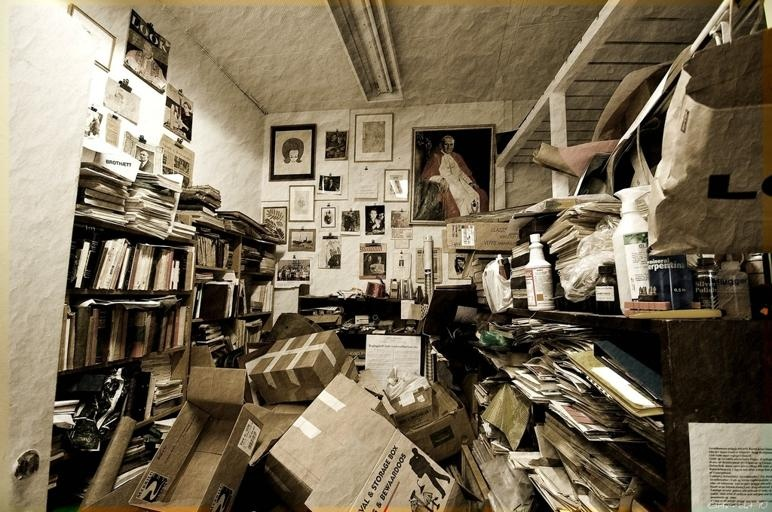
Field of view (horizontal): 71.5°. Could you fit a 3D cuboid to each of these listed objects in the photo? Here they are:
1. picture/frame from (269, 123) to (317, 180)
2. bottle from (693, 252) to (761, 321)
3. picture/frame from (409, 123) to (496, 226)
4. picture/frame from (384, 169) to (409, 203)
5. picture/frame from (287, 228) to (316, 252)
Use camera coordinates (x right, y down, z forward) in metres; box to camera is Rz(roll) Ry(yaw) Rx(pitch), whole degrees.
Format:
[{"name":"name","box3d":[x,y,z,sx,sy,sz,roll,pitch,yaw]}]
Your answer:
[{"name":"picture/frame","box3d":[-0.943,-1.055,5.531,0.637,0.697,0.035,0,-8,2]},{"name":"bottle","box3d":[1.310,0.118,2.084,0.220,0.247,0.068,-2,-3,-11]},{"name":"picture/frame","box3d":[0.672,-0.763,5.163,1.158,1.275,0.088,1,-6,3]},{"name":"picture/frame","box3d":[0.119,-0.691,5.347,0.362,0.434,0.037,0,-13,1]},{"name":"picture/frame","box3d":[-0.836,-0.152,5.410,0.252,0.197,0.021,0,-7,1]}]
